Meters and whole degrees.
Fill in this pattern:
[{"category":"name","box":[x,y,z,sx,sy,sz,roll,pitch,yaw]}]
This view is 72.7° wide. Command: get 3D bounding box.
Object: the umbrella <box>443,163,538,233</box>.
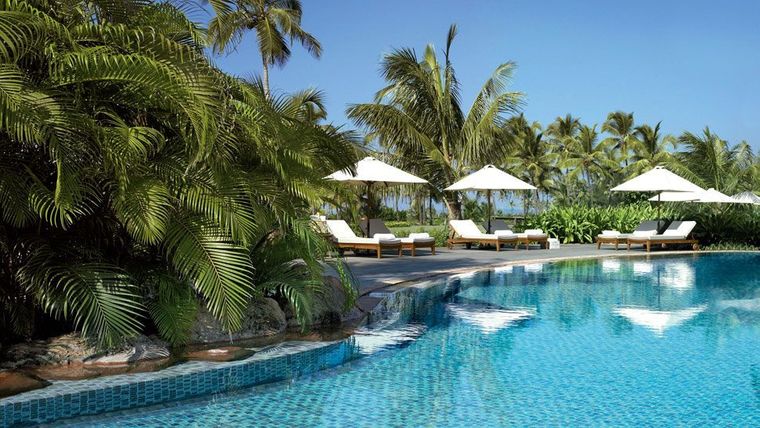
[{"category":"umbrella","box":[4.380,-0.770,21.382,3.177,2.253,3.141,0,0,0]}]
